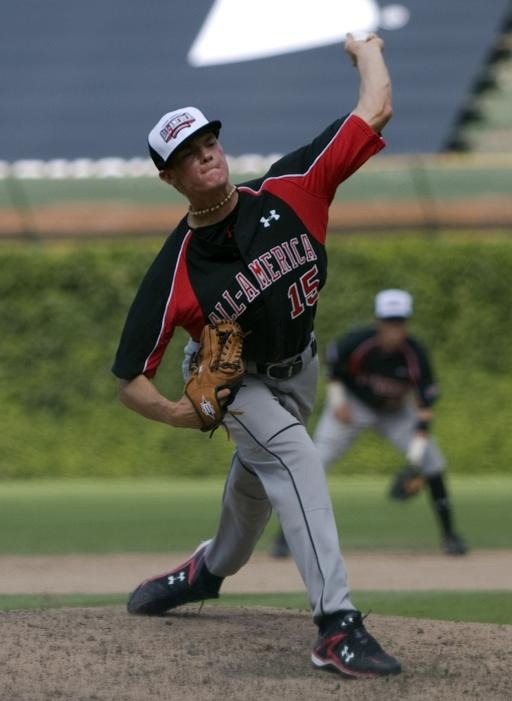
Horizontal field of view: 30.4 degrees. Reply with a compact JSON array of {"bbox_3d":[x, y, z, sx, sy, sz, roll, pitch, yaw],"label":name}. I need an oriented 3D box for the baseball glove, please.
[{"bbox_3d":[-0.125,0.152,3.150,0.192,0.114,0.309,-3,18,2],"label":"baseball glove"}]

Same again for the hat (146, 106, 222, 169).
[{"bbox_3d":[-0.242,-0.699,3.109,0.221,0.195,0.218,-21,43,-28],"label":"hat"}]

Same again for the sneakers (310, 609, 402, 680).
[{"bbox_3d":[0.285,0.890,2.879,0.307,0.146,0.146,2,1,29],"label":"sneakers"}]

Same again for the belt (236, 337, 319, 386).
[{"bbox_3d":[0.092,0.045,3.149,0.151,0.045,0.199,-22,19,-38],"label":"belt"}]
